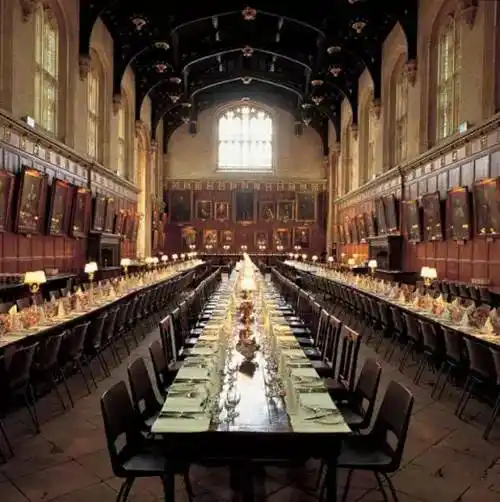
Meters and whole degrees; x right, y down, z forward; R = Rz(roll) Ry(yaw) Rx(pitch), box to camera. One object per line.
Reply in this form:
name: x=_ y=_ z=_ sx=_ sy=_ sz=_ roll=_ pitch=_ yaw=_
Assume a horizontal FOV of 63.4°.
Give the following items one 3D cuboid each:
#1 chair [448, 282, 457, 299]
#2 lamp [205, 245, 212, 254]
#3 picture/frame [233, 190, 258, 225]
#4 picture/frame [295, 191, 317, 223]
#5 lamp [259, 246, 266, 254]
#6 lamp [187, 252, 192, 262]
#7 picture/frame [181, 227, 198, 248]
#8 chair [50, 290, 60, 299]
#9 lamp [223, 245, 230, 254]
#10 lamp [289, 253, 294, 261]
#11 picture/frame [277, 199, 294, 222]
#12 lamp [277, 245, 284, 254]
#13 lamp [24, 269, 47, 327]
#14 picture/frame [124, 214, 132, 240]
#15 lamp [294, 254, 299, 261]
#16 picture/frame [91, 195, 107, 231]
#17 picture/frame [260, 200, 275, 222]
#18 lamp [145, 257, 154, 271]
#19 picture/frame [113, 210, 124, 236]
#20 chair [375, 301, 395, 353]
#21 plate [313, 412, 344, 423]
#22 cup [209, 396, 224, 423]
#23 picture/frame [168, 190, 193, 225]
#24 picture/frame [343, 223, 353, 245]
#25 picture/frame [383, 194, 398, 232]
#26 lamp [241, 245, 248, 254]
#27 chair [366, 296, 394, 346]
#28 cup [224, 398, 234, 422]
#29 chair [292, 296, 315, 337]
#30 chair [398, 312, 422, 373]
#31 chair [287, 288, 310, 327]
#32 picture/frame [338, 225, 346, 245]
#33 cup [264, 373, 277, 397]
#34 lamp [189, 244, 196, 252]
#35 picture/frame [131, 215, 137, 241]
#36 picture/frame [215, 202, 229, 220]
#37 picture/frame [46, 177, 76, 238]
chair: x=4.530 y=0.892 z=9.096 sx=0.200 sy=0.408 sz=0.205 roll=2 pitch=-1 yaw=-3
lamp: x=-2.730 y=-0.117 z=26.319 sx=0.376 sy=0.899 sz=0.436 roll=0 pitch=-3 yaw=-7
picture/frame: x=-0.394 y=-2.904 z=26.167 sx=1.585 sy=2.919 sz=0.185 roll=0 pitch=-1 yaw=-3
picture/frame: x=3.547 y=-2.957 z=26.302 sx=1.436 sy=2.633 sz=0.147 roll=1 pitch=-3 yaw=-4
lamp: x=0.756 y=-0.201 z=26.422 sx=0.357 sy=0.657 sz=0.411 roll=0 pitch=-2 yaw=-2
lamp: x=-3.257 y=0.280 z=21.804 sx=0.290 sy=0.437 sz=0.304 roll=-1 pitch=-6 yaw=-3
picture/frame: x=-3.927 y=-0.929 z=26.260 sx=0.965 sy=1.773 sz=0.123 roll=1 pitch=3 yaw=9
chair: x=-3.803 y=0.837 z=7.881 sx=0.141 sy=0.191 sz=0.169 roll=-1 pitch=-8 yaw=-2
lamp: x=-1.578 y=-0.123 z=26.322 sx=0.421 sy=0.550 sz=0.161 roll=-1 pitch=1 yaw=-4
lamp: x=2.570 y=0.341 z=25.417 sx=0.277 sy=0.580 sz=0.311 roll=-3 pitch=5 yaw=-7
picture/frame: x=2.268 y=-2.690 z=26.363 sx=1.047 sy=1.656 sz=0.148 roll=0 pitch=-1 yaw=-2
lamp: x=1.914 y=-0.139 z=26.407 sx=0.383 sy=0.677 sz=0.146 roll=-1 pitch=-2 yaw=-5
lamp: x=-3.462 y=0.650 z=6.494 sx=0.231 sy=0.691 sz=0.266 roll=3 pitch=7 yaw=3
picture/frame: x=-5.291 y=-1.071 z=17.455 sx=0.298 sy=1.147 sz=1.221 roll=-1 pitch=1 yaw=-14
lamp: x=2.804 y=0.370 z=24.723 sx=0.280 sy=0.517 sz=0.301 roll=-3 pitch=-2 yaw=35
picture/frame: x=-5.182 y=-1.273 z=14.038 sx=0.062 sy=1.322 sz=1.132 roll=7 pitch=0 yaw=-28
picture/frame: x=1.089 y=-2.707 z=26.356 sx=0.972 sy=1.607 sz=0.147 roll=0 pitch=-2 yaw=-4
lamp: x=-4.074 y=0.523 z=16.288 sx=0.354 sy=0.680 sz=0.425 roll=0 pitch=-6 yaw=-5
picture/frame: x=-5.252 y=-1.185 z=16.208 sx=0.282 sy=1.014 sz=1.123 roll=-1 pitch=1 yaw=-10
chair: x=2.441 y=1.345 z=7.134 sx=0.407 sy=0.793 sz=0.411 roll=3 pitch=4 yaw=29
plate: x=0.462 y=1.000 z=2.414 sx=0.171 sy=0.019 sz=0.149 roll=-2 pitch=0 yaw=-3
cup: x=-0.203 y=0.965 z=2.441 sx=0.087 sy=0.189 sz=0.109 roll=1 pitch=-10 yaw=-4
picture/frame: x=-4.477 y=-2.950 z=26.175 sx=1.604 sy=2.928 sz=0.178 roll=0 pitch=-3 yaw=-2
picture/frame: x=5.118 y=-0.943 z=21.233 sx=0.105 sy=1.371 sz=0.966 roll=-3 pitch=3 yaw=-11
picture/frame: x=4.904 y=-1.366 z=14.735 sx=0.957 sy=1.344 sz=0.091 roll=-6 pitch=0 yaw=-23
lamp: x=-0.384 y=-0.135 z=26.285 sx=0.360 sy=0.806 sz=0.385 roll=3 pitch=-2 yaw=-17
chair: x=2.397 y=1.326 z=7.542 sx=0.389 sy=0.695 sz=0.450 roll=7 pitch=-3 yaw=6
cup: x=-0.122 y=0.936 z=2.409 sx=0.060 sy=0.127 sz=0.111 roll=-1 pitch=1 yaw=-4
chair: x=0.950 y=1.030 z=7.052 sx=0.399 sy=0.885 sz=0.412 roll=2 pitch=-2 yaw=-18
chair: x=2.506 y=1.485 z=6.434 sx=0.243 sy=0.604 sz=0.299 roll=-8 pitch=-6 yaw=-15
chair: x=0.922 y=0.997 z=7.437 sx=0.362 sy=0.818 sz=0.383 roll=2 pitch=-3 yaw=-14
picture/frame: x=5.098 y=-0.945 z=22.528 sx=0.125 sy=1.603 sz=0.794 roll=-8 pitch=10 yaw=-7
cup: x=0.148 y=0.947 z=2.858 sx=0.078 sy=0.173 sz=0.100 roll=0 pitch=-11 yaw=-1
lamp: x=-3.773 y=-0.174 z=26.129 sx=0.325 sy=0.583 sz=0.380 roll=-3 pitch=4 yaw=1
picture/frame: x=-5.313 y=-1.078 z=18.605 sx=0.277 sy=1.192 sz=1.203 roll=-1 pitch=1 yaw=-13
picture/frame: x=-1.887 y=-2.661 z=26.223 sx=0.813 sy=1.396 sz=0.200 roll=0 pitch=-2 yaw=-4
picture/frame: x=-5.117 y=-1.173 z=10.784 sx=0.104 sy=1.429 sz=1.525 roll=4 pitch=-1 yaw=-42
